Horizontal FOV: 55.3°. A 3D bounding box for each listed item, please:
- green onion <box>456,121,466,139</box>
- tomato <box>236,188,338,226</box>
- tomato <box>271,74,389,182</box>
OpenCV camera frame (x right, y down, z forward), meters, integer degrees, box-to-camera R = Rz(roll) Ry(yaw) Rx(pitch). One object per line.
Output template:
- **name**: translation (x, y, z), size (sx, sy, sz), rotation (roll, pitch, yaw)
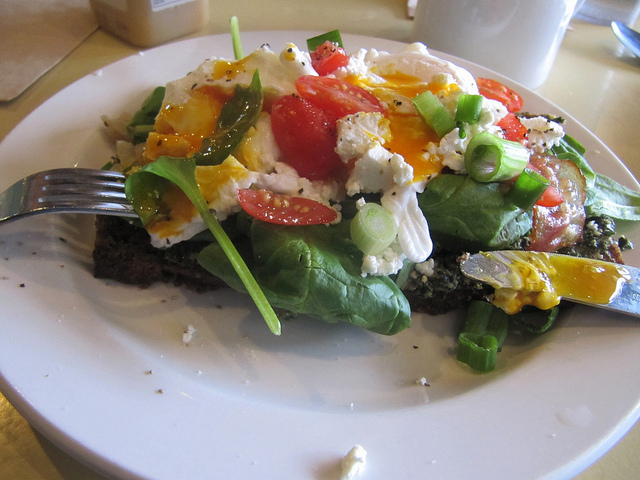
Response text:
- **green onion**: translation (0.566, -0.442, 2.441), size (0.029, 0.023, 0.066), rotation (-2, 64, -2)
- **tomato**: translation (-0.135, -0.123, 2.411), size (0.409, 0.060, 0.142), rotation (8, 55, 1)
- **tomato**: translation (0.021, -0.487, 2.580), size (0.382, 0.242, 0.439), rotation (41, 61, 21)
